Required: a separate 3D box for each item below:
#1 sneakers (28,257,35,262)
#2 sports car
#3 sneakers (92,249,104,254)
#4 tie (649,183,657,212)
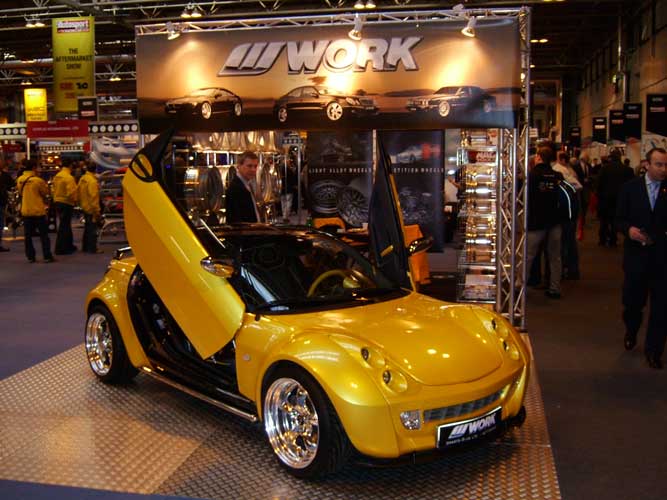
[{"bbox_3d":[-6.673,0.189,12.422,0.155,0.112,0.219,-5,9,-32],"label":"sneakers"},{"bbox_3d":[-0.495,0.149,4.936,3.593,2.484,2.288,7,4,38],"label":"sports car"},{"bbox_3d":[-5.813,0.015,13.856,0.224,0.089,0.168,-15,-11,-2],"label":"sneakers"},{"bbox_3d":[3.147,-0.548,5.536,0.083,0.248,0.075,2,7,15],"label":"tie"}]
